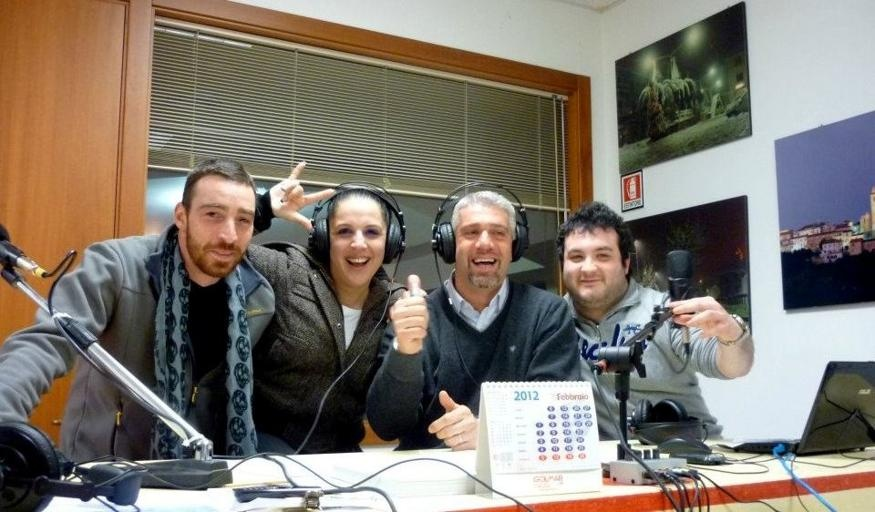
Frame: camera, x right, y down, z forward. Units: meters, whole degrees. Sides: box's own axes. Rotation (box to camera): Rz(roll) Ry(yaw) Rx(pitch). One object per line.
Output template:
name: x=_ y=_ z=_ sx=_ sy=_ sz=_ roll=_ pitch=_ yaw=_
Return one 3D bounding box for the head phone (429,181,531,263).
head phone: x=0.231 y=-0.165 z=3.530 sx=0.522 sy=0.398 sz=0.181 roll=0 pitch=-3 yaw=-7

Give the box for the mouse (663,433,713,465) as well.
mouse: x=0.960 y=0.743 z=2.600 sx=0.144 sy=0.043 sz=0.102 roll=6 pitch=3 yaw=-11

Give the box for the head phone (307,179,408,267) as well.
head phone: x=-0.390 y=-0.151 z=3.364 sx=0.478 sy=0.394 sz=0.173 roll=6 pitch=-13 yaw=-8

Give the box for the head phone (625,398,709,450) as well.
head phone: x=0.948 y=0.706 z=2.833 sx=0.277 sy=0.142 sz=0.318 roll=-4 pitch=5 yaw=2

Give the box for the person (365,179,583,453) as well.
person: x=0.167 y=0.417 z=3.370 sx=1.163 sy=1.392 sz=0.845 roll=2 pitch=1 yaw=-29

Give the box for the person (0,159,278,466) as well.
person: x=-1.334 y=0.281 z=3.012 sx=1.070 sy=1.214 sz=0.757 roll=27 pitch=-37 yaw=-18
